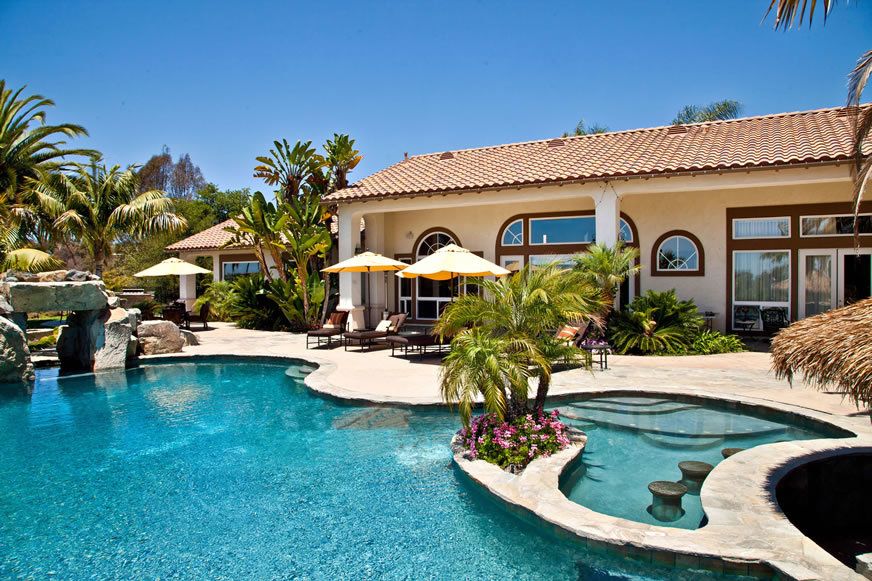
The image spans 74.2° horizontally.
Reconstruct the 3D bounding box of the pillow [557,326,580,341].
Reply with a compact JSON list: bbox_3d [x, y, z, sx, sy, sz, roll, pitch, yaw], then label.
[{"bbox_3d":[3.492,1.129,15.217,0.398,0.128,0.622,15,38,24],"label":"pillow"}]

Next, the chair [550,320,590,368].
[{"bbox_3d":[2.993,1.161,12.914,0.930,0.823,2.255,-2,-5,24],"label":"chair"}]

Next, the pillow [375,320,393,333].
[{"bbox_3d":[-1.743,1.289,20.123,0.102,0.400,0.418,32,-3,-35],"label":"pillow"}]

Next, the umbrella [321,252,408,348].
[{"bbox_3d":[-2.523,0.182,20.101,2.967,2.612,2.940,0,4,-1],"label":"umbrella"}]

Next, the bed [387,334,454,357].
[{"bbox_3d":[-0.582,1.666,18.572,1.732,0.740,2.754,0,0,-1],"label":"bed"}]

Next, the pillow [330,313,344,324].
[{"bbox_3d":[-3.799,1.052,21.987,0.368,0.391,0.393,9,7,23],"label":"pillow"}]

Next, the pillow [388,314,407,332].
[{"bbox_3d":[-1.317,1.177,20.479,0.468,0.879,0.655,-2,-8,24],"label":"pillow"}]
